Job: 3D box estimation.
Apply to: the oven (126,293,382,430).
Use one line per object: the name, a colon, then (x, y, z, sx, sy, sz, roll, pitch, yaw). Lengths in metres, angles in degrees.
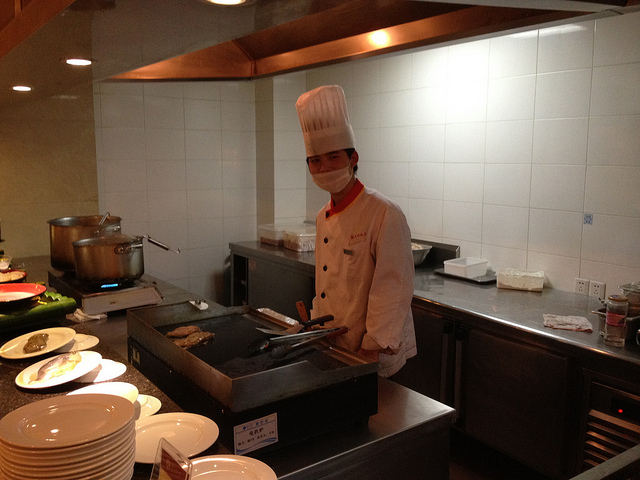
oven: (-0.258, 0.389, 1.528, 0.418, 0.235, 0.815, -5, 13, -43)

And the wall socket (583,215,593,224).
wall socket: (1.543, -0.119, 2.734, 0.005, 0.053, 0.050, -9, 11, -37)

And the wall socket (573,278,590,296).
wall socket: (1.538, 0.278, 2.791, 0.010, 0.101, 0.097, -5, 9, -27)

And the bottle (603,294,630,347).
bottle: (1.368, 0.376, 2.179, 0.106, 0.235, 0.096, 8, 10, 24)

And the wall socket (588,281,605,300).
wall socket: (1.587, 0.289, 2.718, 0.010, 0.101, 0.096, -7, 10, -31)

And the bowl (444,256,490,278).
bowl: (1.006, 0.191, 3.230, 0.275, 0.121, 0.232, -4, 12, -41)

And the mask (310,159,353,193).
mask: (0.060, -0.287, 2.112, 0.183, 0.156, 0.121, 3, 9, -6)
